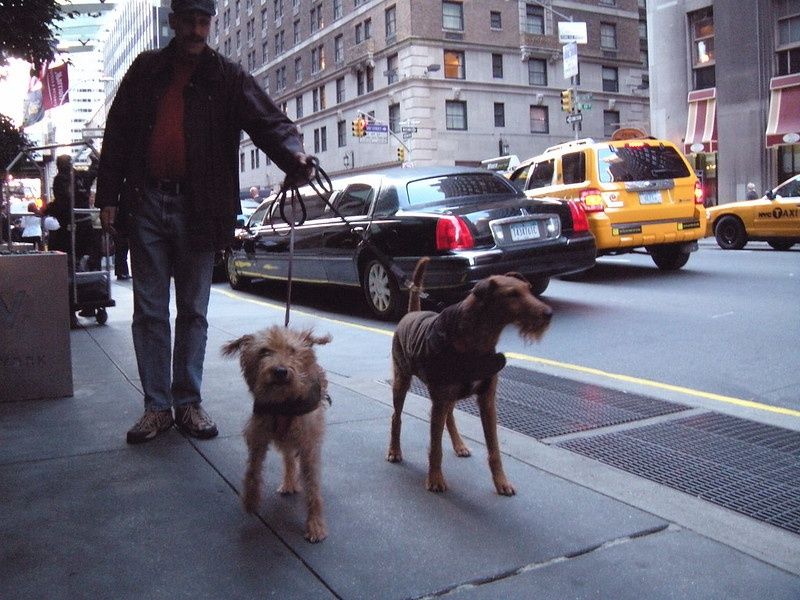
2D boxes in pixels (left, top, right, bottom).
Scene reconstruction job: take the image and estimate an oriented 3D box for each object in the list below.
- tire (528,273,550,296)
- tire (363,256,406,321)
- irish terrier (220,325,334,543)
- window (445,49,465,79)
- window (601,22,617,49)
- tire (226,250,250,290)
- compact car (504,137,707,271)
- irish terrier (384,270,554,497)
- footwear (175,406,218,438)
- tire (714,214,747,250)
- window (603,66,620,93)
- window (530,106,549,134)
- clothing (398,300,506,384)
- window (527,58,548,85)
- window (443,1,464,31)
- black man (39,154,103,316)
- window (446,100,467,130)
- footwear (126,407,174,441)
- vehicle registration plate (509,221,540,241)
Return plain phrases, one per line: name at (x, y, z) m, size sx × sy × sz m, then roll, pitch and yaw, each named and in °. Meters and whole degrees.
tire at (1.723, -0.201, 7.785) m, size 0.286 × 0.256 × 0.354 m, roll 0°, pitch -1°, yaw -4°
tire at (-0.164, -0.152, 7.566) m, size 0.204 × 0.716 × 0.646 m, roll -9°, pitch 14°, yaw -27°
irish terrier at (-0.535, 0.604, 3.159) m, size 0.596 × 0.942 × 0.458 m, roll 5°, pitch 11°, yaw 27°
window at (3.362, -14.588, 38.739) m, size 1.713 × 2.172 × 0.253 m, roll -1°, pitch -2°, yaw -28°
window at (15.060, -19.083, 45.296) m, size 0.147 × 2.488 × 1.863 m, roll -1°, pitch 3°, yaw 43°
tire at (-2.868, -0.538, 11.245) m, size 0.182 × 0.634 × 0.569 m, roll -9°, pitch 11°, yaw -30°
compact car at (3.470, -1.864, 11.855) m, size 1.812 × 1.739 × 3.977 m, roll -5°, pitch 14°, yaw -17°
irish terrier at (0.287, 0.360, 3.771) m, size 0.482 × 1.398 × 1.690 m, roll -1°, pitch 1°, yaw -20°
footwear at (-1.313, 0.781, 4.077) m, size 0.134 × 0.170 × 0.326 m, roll -3°, pitch 5°, yaw -42°
tire at (7.932, -1.636, 14.997) m, size 0.245 × 0.742 × 0.686 m, roll -4°, pitch -14°, yaw -18°
window at (15.199, -15.923, 45.291) m, size 1.752 × 2.391 × 0.211 m, roll -3°, pitch 2°, yaw -29°
window at (9.307, -12.061, 41.984) m, size 1.691 × 2.409 × 0.154 m, roll -2°, pitch -1°, yaw -25°
clothing at (0.259, 0.185, 3.665) m, size 0.463 × 0.440 × 0.825 m, roll -10°, pitch 3°, yaw -26°
window at (9.147, -15.213, 41.805) m, size 1.709 × 2.438 × 0.232 m, roll 0°, pitch -5°, yaw -25°
window at (3.293, -17.467, 38.626) m, size 1.785 × 2.434 × 0.161 m, roll 0°, pitch -2°, yaw -26°
black man at (-4.453, -0.887, 8.595) m, size 0.714 × 2.174 × 3.183 m, roll -6°, pitch 12°, yaw -29°
window at (3.482, -11.483, 38.846) m, size 1.686 × 2.266 × 0.137 m, roll -1°, pitch -2°, yaw -28°
footwear at (-1.595, 0.798, 4.044) m, size 0.111 × 0.145 × 0.315 m, roll 2°, pitch 2°, yaw 15°
vehicle registration plate at (1.497, -0.809, 7.447) m, size 0.472 × 0.214 × 0.099 m, roll -9°, pitch 13°, yaw -38°
